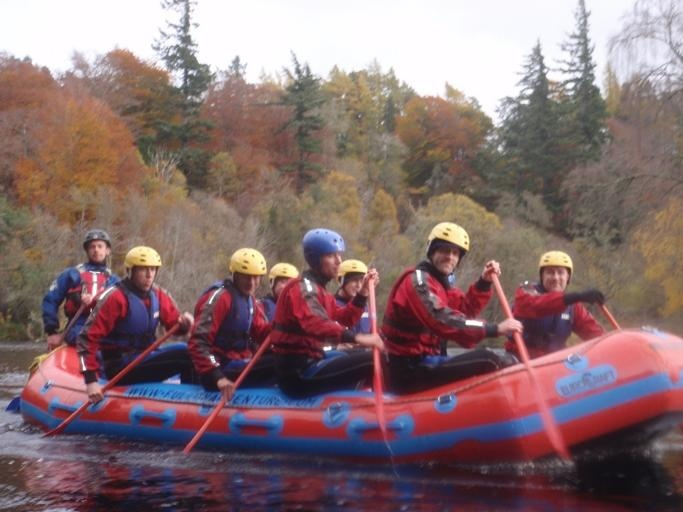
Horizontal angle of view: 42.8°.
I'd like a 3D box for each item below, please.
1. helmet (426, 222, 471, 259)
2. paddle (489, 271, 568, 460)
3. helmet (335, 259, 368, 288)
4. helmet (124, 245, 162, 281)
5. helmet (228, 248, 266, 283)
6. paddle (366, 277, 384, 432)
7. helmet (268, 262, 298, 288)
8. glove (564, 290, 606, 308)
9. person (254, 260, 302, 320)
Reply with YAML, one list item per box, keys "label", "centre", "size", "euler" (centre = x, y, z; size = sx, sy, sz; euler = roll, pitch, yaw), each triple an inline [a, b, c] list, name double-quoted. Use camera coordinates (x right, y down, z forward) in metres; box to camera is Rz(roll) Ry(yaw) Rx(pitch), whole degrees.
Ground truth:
- label: "helmet"
  centre: [1.560, -0.274, 12.848]
  size: [0.406, 0.535, 0.568]
  euler: [21, -36, -15]
- label: "paddle"
  centre: [2.767, 1.658, 12.686]
  size: [0.138, 3.089, 0.315]
  euler: [1, -35, -48]
- label: "helmet"
  centre: [0.215, 0.299, 15.462]
  size: [0.489, 0.522, 0.384]
  euler: [-11, -9, 43]
- label: "helmet"
  centre: [-3.142, 0.111, 13.929]
  size: [0.517, 0.580, 0.440]
  euler: [-7, -7, 27]
- label: "helmet"
  centre: [-1.510, 0.108, 13.592]
  size: [0.368, 0.310, 0.505]
  euler: [2, -1, -32]
- label: "paddle"
  centre: [0.521, 1.421, 12.580]
  size: [0.198, 2.208, 0.198]
  euler: [-2, -2, -9]
- label: "helmet"
  centre: [-0.949, 0.312, 14.942]
  size: [0.527, 0.580, 0.416]
  euler: [-2, -2, 43]
- label: "glove"
  centre: [3.667, 0.589, 13.156]
  size: [0.471, 0.150, 0.287]
  euler: [-9, -43, 39]
- label: "person"
  centre: [-1.132, 0.516, 14.547]
  size: [0.771, 0.679, 0.773]
  euler: [-17, -7, -14]
